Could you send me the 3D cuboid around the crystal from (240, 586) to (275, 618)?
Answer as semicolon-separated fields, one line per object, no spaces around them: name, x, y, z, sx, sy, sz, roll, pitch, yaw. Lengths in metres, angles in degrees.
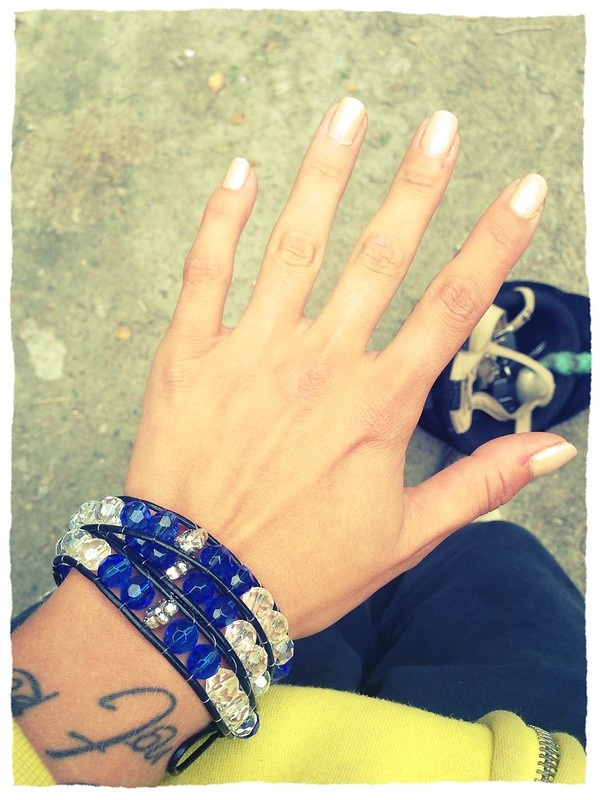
crystal;-0.074;0.354;1.392;0.052;0.019;0.051;-23;83;-28

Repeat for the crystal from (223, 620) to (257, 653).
crystal;-0.097;0.399;1.343;0.053;0.020;0.049;2;71;-23

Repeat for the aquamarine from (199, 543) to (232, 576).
aquamarine;-0.145;0.278;1.391;0.053;0.032;0.049;-9;82;-20

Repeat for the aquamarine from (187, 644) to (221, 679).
aquamarine;-0.157;0.424;1.289;0.048;0.032;0.053;-1;70;2

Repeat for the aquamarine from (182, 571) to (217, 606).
aquamarine;-0.171;0.317;1.349;0.054;0.027;0.050;-29;92;-22

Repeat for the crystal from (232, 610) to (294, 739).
crystal;-0.072;0.455;1.354;0.135;0.064;0.163;20;66;-20

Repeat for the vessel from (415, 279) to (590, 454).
vessel;0.611;-0.082;2.343;0.505;0.201;0.387;-43;83;6

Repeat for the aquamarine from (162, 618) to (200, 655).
aquamarine;-0.193;0.383;1.293;0.052;0.030;0.053;-7;70;-1

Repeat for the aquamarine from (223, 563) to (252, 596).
aquamarine;-0.108;0.317;1.415;0.051;0.028;0.050;42;55;-13

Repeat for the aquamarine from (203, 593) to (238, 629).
aquamarine;-0.128;0.346;1.314;0.052;0.028;0.048;-2;75;-28
